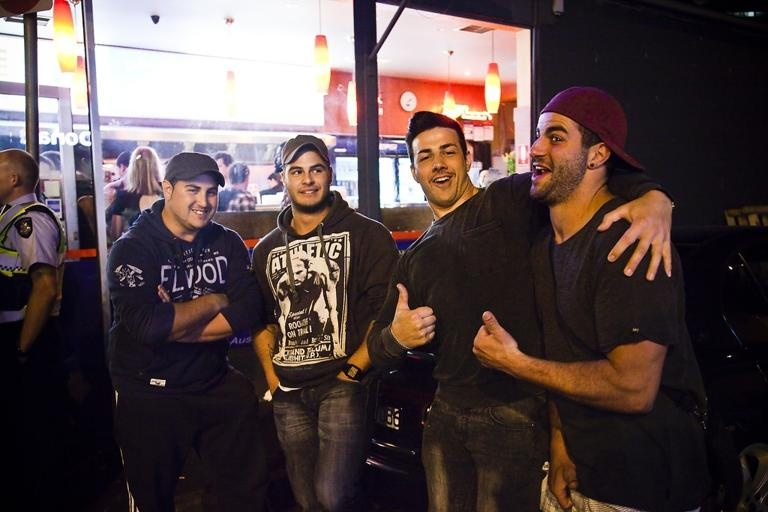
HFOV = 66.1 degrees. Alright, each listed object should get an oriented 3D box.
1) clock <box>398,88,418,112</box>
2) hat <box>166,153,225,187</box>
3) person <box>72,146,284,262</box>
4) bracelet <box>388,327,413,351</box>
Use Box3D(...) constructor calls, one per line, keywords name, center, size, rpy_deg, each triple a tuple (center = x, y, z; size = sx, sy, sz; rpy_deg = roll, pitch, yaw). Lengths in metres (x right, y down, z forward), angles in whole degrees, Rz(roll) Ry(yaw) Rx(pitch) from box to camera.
Box3D(name="clock", center=(0.556, -3.485, 13.284), size=(0.479, 0.461, 0.457), rpy_deg=(-1, -7, -15))
Box3D(name="hat", center=(-1.226, -0.571, 3.791), size=(0.239, 0.142, 0.308), rpy_deg=(-1, 2, -44))
Box3D(name="person", center=(-1.978, -0.504, 5.496), size=(1.930, 1.332, 1.058), rpy_deg=(-1, -14, 3))
Box3D(name="bracelet", center=(0.075, 0.462, 3.290), size=(0.034, 0.125, 0.125), rpy_deg=(-44, -1, 5))
